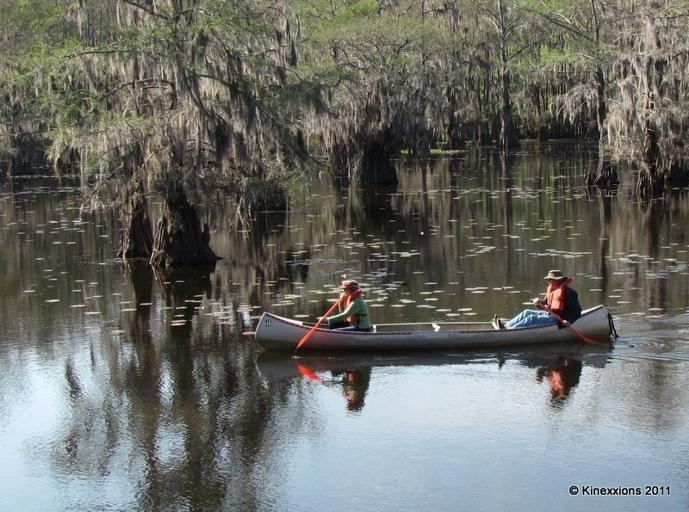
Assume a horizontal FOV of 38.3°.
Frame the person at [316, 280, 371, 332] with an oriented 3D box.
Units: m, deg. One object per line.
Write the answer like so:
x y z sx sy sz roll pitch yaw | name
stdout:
0.033 0.812 17.468 0.822 0.961 0.762 2 8 7 | person

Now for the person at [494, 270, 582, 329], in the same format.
3.416 0.776 17.372 1.503 1.120 0.961 -5 7 -10 | person

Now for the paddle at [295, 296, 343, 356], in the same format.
-0.434 1.280 17.815 0.121 1.218 0.071 25 -24 31 | paddle

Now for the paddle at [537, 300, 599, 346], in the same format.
3.885 1.168 17.118 1.016 0.141 0.055 46 7 5 | paddle

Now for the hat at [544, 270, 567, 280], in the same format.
3.745 0.327 17.453 0.406 0.183 0.485 -3 -2 8 | hat
